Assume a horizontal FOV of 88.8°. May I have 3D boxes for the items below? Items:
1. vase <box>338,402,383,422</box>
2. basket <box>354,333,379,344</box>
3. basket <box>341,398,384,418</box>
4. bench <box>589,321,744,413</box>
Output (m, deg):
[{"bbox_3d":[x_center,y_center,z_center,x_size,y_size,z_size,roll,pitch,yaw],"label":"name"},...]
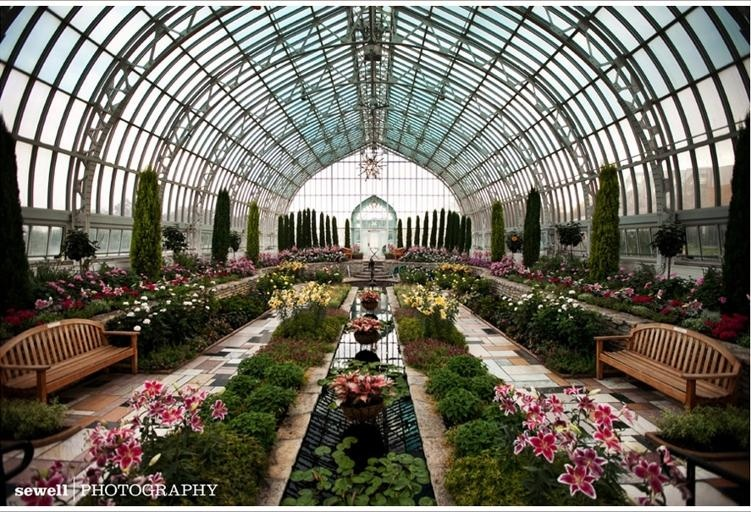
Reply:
[{"bbox_3d":[-0.202,2.251,5.477,0.440,0.185,0.440,-2,1,-6],"label":"vase"},{"bbox_3d":[-0.184,1.749,7.972,0.311,0.165,0.313,-1,0,7],"label":"basket"},{"bbox_3d":[-0.167,2.190,5.441,0.359,0.154,0.359,-3,2,-9],"label":"basket"},{"bbox_3d":[4.590,1.808,6.286,0.849,1.132,2.333,-2,1,3],"label":"bench"}]
